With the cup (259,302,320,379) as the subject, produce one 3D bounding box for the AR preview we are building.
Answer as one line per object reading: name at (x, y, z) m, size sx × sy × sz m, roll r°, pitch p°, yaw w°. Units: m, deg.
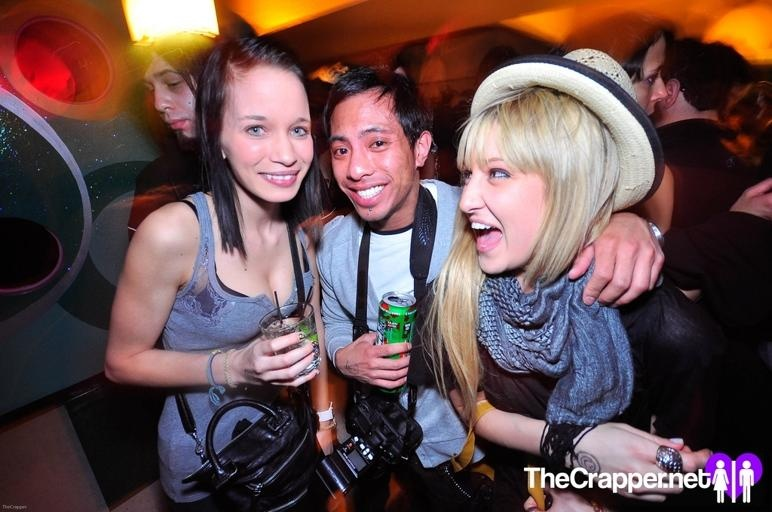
cup at (-0.565, 0.478, 2.899) m, size 0.299 × 0.397 × 0.287 m, roll -3°, pitch 23°, yaw 1°
